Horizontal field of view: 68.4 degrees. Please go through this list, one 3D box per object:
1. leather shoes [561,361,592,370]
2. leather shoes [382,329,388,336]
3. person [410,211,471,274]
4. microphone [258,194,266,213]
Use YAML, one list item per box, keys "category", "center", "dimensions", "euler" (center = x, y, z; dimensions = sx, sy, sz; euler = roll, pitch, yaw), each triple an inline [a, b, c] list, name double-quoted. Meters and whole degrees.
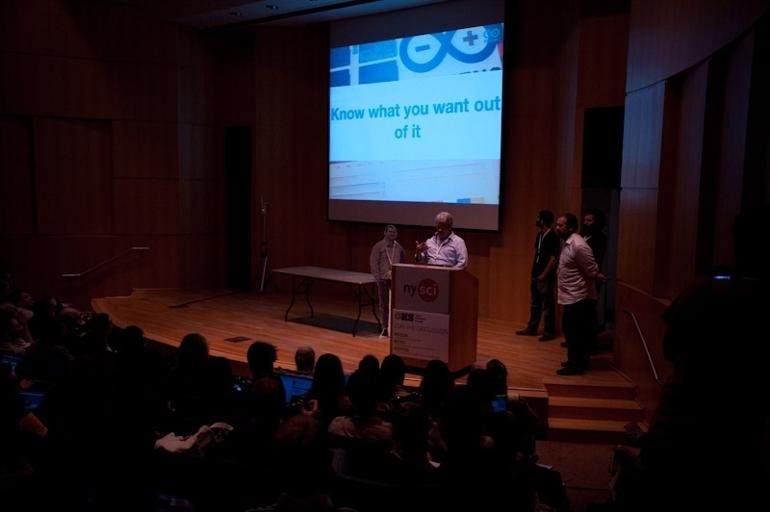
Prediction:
- category: "leather shoes"
  center: [2.262, 1.314, 6.770]
  dimensions: [0.232, 0.088, 0.183]
  euler: [1, 4, 2]
- category: "leather shoes"
  center: [0.007, 1.105, 8.218]
  dimensions: [0.073, 0.111, 0.108]
  euler: [-2, -3, 43]
- category: "person"
  center: [0.705, 0.056, 7.328]
  dimensions: [0.626, 1.226, 0.518]
  euler: [3, -4, 21]
- category: "microphone"
  center: [-2.368, -1.001, 11.113]
  dimensions: [0.135, 0.322, 0.050]
  euler: [0, 4, -5]
